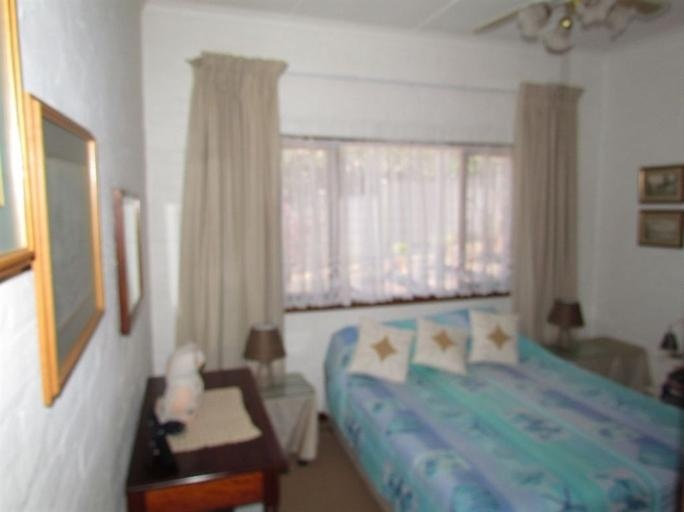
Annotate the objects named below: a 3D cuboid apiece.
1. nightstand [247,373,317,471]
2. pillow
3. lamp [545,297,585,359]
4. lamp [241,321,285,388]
[{"bbox_3d":[-0.434,1.133,3.667,0.502,0.478,0.529,-3,9,-9],"label":"nightstand"},{"bbox_3d":[0.718,0.678,3.738,0.939,0.449,0.109,3,-20,-11],"label":"pillow"},{"bbox_3d":[1.902,0.576,4.421,0.398,0.629,0.434,0,3,34],"label":"lamp"},{"bbox_3d":[-0.542,0.676,3.687,0.363,0.476,0.371,-2,3,-36],"label":"lamp"}]
